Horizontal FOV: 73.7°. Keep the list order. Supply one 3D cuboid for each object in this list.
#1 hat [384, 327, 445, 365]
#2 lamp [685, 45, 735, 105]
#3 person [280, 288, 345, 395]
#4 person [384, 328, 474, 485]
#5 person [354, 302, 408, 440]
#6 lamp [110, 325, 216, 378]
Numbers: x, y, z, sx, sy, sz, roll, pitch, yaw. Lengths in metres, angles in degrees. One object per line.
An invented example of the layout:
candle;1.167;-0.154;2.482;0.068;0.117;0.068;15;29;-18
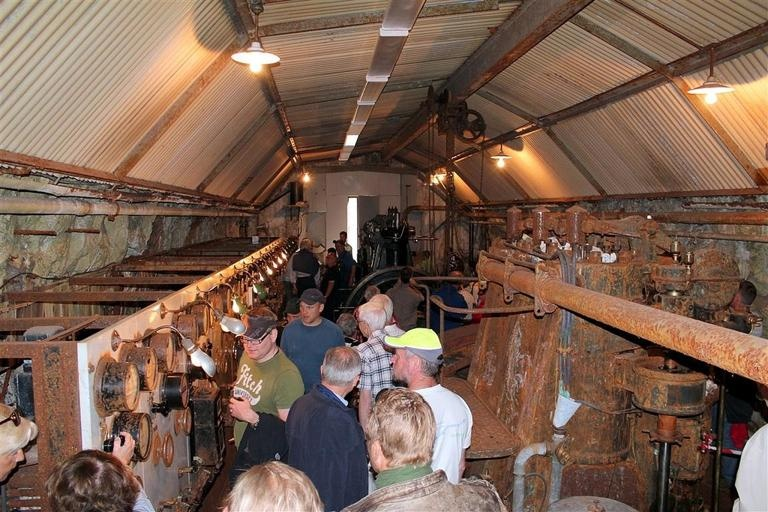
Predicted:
hat;0.262;0.714;4.321;0.529;0.259;0.339;9;9;9
lamp;4.521;-2.440;7.074;0.472;0.677;1.236;-7;-10;34
person;-0.837;0.917;6.201;0.666;1.290;0.682;3;7;0
person;0.376;1.135;4.263;0.756;1.241;0.707;5;11;-5
person;-0.047;1.223;5.460;0.505;1.241;0.529;6;12;5
lamp;-1.838;0.786;4.304;0.876;0.436;0.206;6;19;3
